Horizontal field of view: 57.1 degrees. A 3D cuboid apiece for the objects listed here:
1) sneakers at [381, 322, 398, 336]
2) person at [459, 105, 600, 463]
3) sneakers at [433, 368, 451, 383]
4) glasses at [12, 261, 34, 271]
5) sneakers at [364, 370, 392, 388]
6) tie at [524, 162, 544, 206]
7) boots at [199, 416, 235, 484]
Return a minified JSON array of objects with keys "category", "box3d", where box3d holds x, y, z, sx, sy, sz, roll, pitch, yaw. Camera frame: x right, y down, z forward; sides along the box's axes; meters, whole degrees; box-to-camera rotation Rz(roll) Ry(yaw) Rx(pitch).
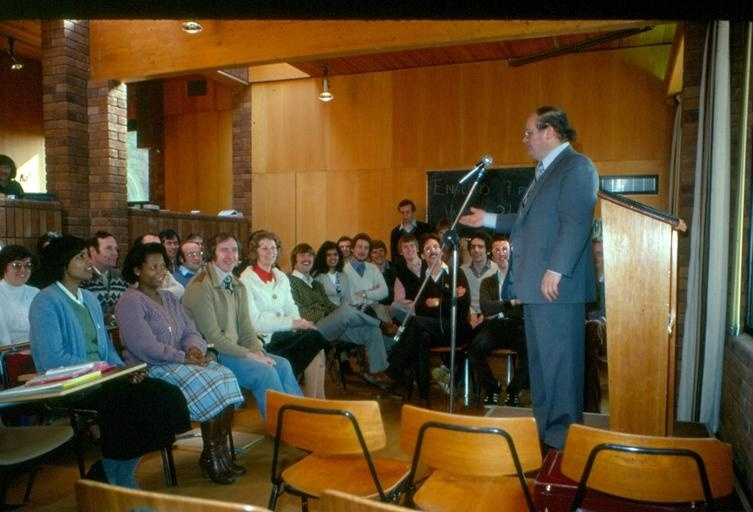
[{"category":"sneakers","box3d":[0.112,0.672,6.576,0.138,0.134,0.104,-17,12,-18]},{"category":"person","box3d":[1.045,0.117,4.159,0.509,2.031,0.283,1,1,15]},{"category":"sneakers","box3d":[0.527,0.973,5.656,0.081,0.076,0.142,15,0,7]},{"category":"glasses","box3d":[-2.766,0.078,5.450,0.082,0.075,0.212,1,0,3]},{"category":"sneakers","box3d":[0.009,1.119,6.447,0.307,0.133,0.117,22,2,25]},{"category":"tie","box3d":[0.966,-0.445,4.282,0.050,0.220,0.211,20,16,7]},{"category":"boots","box3d":[-1.061,1.276,4.626,0.254,0.461,0.154,3,13,11]}]
